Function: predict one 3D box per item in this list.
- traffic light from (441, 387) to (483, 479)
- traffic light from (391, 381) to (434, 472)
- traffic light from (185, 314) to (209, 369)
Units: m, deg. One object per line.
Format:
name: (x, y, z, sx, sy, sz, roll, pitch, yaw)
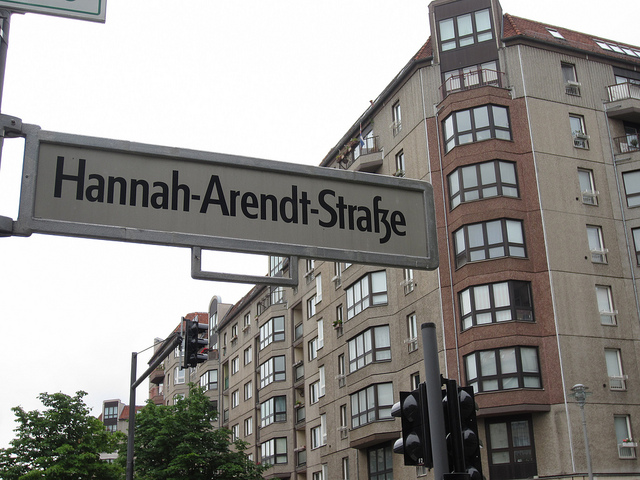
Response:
traffic light: (1.978, 2.629, 11.413, 0.628, 1.255, 0.294, 1, -13, -38)
traffic light: (1.235, 2.614, 11.459, 0.483, 1.063, 0.558, -4, -27, 7)
traffic light: (-3.460, 2.964, 23.739, 0.650, 1.394, 0.469, -4, -36, -2)
